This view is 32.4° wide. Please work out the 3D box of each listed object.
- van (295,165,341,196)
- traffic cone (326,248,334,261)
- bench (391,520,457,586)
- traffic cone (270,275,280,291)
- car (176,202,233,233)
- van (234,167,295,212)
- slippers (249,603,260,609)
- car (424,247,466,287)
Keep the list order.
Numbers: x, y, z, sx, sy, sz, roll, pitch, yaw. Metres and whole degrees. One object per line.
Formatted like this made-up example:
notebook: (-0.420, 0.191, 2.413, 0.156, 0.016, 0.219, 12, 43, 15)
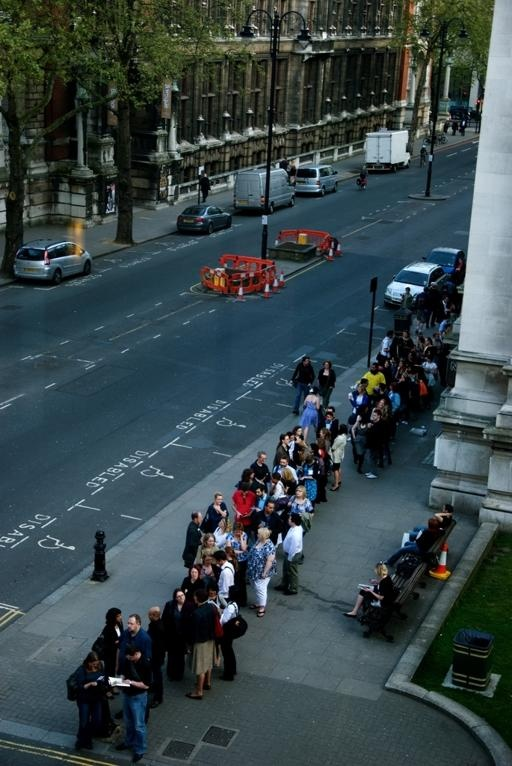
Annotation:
van: (4.200, -13.950, 59.772, 1.905, 1.496, 3.218, 9, 26, 27)
traffic cone: (3.675, -6.305, 42.908, 0.333, 0.550, 0.727, 2, 12, 5)
bench: (2.735, 2.880, 14.637, 1.304, 0.802, 1.466, 8, 18, 22)
traffic cone: (0.915, -4.205, 36.714, 0.563, 0.696, 0.526, -1, 22, -1)
car: (-2.760, -8.705, 46.707, 1.187, 1.546, 3.165, 10, 15, 35)
van: (0.856, -11.673, 53.433, 2.948, 2.482, 5.116, 10, 20, 33)
slippers: (-0.019, 3.487, 13.677, 0.170, 0.061, 0.043, -5, -30, -15)
car: (8.323, -4.986, 37.832, 1.546, 1.169, 2.486, 8, 19, 21)
